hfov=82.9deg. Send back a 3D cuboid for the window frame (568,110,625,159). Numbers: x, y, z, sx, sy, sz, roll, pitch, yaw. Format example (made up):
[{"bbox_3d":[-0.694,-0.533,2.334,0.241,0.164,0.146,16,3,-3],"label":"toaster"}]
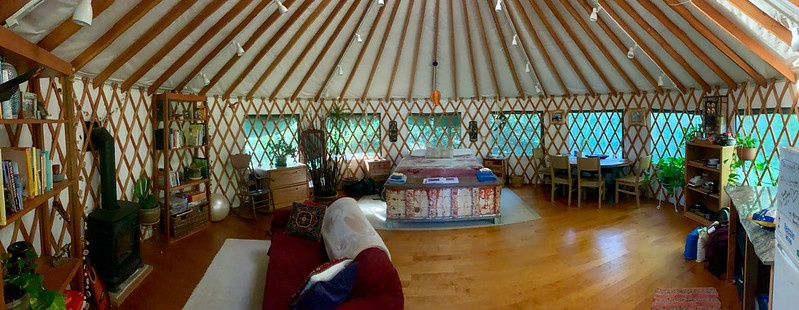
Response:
[{"bbox_3d":[5.331,-0.567,12.180,1.521,1.223,0.067,6,15,29],"label":"window frame"}]

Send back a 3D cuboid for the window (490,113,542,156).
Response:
[{"bbox_3d":[3.337,-0.601,12.804,1.594,1.160,0.066,1,5,1],"label":"window"}]

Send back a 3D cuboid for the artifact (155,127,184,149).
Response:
[{"bbox_3d":[-5.052,-0.366,10.193,0.701,0.537,0.493,8,10,29],"label":"artifact"}]

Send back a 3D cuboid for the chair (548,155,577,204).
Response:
[{"bbox_3d":[4.100,0.619,11.506,0.603,1.000,0.921,-3,1,17],"label":"chair"}]

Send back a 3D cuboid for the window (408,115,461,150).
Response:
[{"bbox_3d":[0.969,-0.664,12.993,1.327,0.716,0.054,1,14,0],"label":"window"}]

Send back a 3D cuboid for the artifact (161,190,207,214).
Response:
[{"bbox_3d":[-4.795,1.050,10.169,0.599,0.127,0.586,7,12,34],"label":"artifact"}]

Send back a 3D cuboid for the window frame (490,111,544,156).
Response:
[{"bbox_3d":[3.335,-0.502,12.869,1.878,1.404,0.095,-6,17,-19],"label":"window frame"}]

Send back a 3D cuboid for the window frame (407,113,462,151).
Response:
[{"bbox_3d":[0.957,-0.691,12.982,1.434,0.774,0.054,0,14,0],"label":"window frame"}]

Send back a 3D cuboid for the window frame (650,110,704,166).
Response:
[{"bbox_3d":[6.779,-0.425,11.037,0.099,1.547,1.657,2,1,-40],"label":"window frame"}]

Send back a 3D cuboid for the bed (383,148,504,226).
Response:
[{"bbox_3d":[1.159,0.669,11.777,2.715,0.857,3.487,-5,19,-7],"label":"bed"}]

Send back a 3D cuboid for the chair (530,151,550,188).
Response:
[{"bbox_3d":[3.820,0.341,12.411,0.483,0.855,0.945,-3,1,17],"label":"chair"}]

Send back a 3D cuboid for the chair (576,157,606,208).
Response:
[{"bbox_3d":[4.711,0.670,11.231,0.624,0.963,0.907,-2,1,23],"label":"chair"}]

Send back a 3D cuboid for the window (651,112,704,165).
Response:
[{"bbox_3d":[6.790,-0.403,11.038,0.103,1.434,1.549,4,0,-40],"label":"window"}]

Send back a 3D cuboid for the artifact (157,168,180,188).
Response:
[{"bbox_3d":[-5.125,0.509,10.113,0.401,0.424,0.503,-4,2,-38],"label":"artifact"}]

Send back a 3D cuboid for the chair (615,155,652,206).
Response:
[{"bbox_3d":[5.811,0.653,11.320,0.864,0.927,1.100,-2,2,27],"label":"chair"}]

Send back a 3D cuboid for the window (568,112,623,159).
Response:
[{"bbox_3d":[5.322,-0.546,12.203,1.447,1.189,0.069,6,15,29],"label":"window"}]

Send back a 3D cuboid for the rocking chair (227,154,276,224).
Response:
[{"bbox_3d":[-3.671,0.749,11.156,0.702,1.585,1.014,-4,2,-44],"label":"rocking chair"}]
